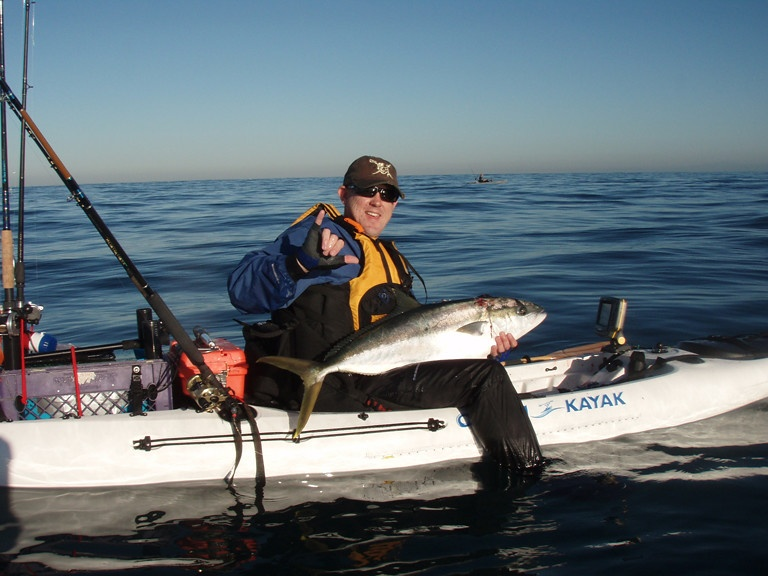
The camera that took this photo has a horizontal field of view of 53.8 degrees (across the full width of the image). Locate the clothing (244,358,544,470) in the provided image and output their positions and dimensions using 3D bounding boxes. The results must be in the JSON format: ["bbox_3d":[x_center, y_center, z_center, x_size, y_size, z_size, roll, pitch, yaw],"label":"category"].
[{"bbox_3d":[0.148,0.866,6.244,0.757,0.849,2.934,-27,-22,27],"label":"clothing"}]
